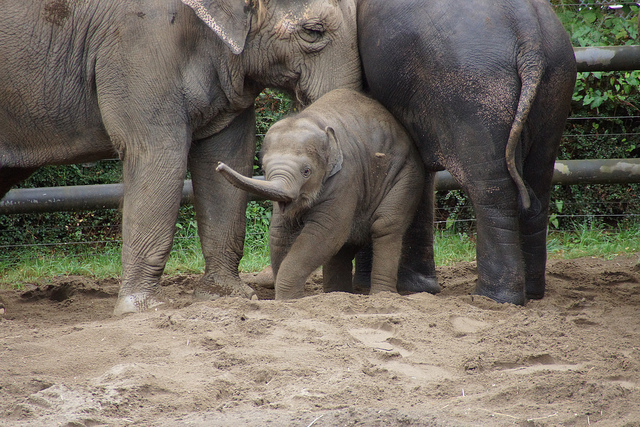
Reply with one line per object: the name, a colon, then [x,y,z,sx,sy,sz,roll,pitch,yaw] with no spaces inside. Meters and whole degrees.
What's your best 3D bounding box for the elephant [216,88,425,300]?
elephant: [-0.034,-0.085,5.275,0.558,1.328,1.776,5,2,38]
